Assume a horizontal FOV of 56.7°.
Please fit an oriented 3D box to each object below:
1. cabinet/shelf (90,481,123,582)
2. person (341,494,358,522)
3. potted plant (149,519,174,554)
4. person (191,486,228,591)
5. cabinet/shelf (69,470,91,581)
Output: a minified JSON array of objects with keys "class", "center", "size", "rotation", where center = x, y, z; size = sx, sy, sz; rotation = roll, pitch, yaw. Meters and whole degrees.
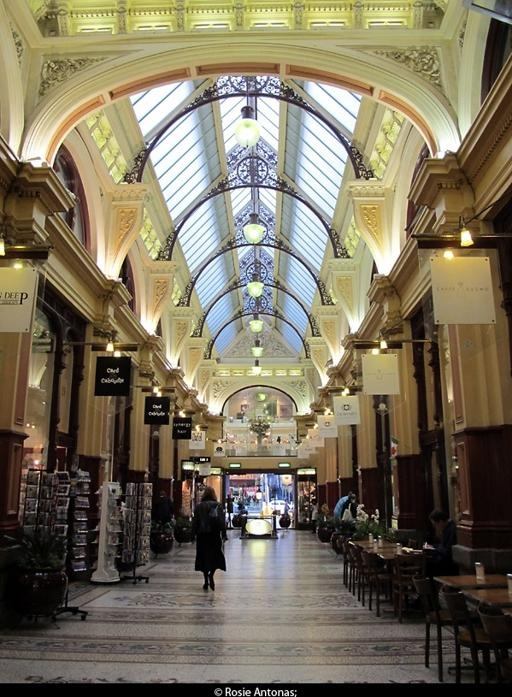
[{"class":"cabinet/shelf","center":[-2.759,3.410,8.865],"size":[0.508,1.799,0.903],"rotation":[4,-17,-17]},{"class":"person","center":[2.778,4.665,13.997],"size":[0.285,0.798,0.581],"rotation":[4,-10,-5]},{"class":"potted plant","center":[-2.868,5.620,14.156],"size":[0.495,0.986,1.029],"rotation":[-2,-16,3]},{"class":"person","center":[-0.846,3.370,8.547],"size":[0.569,1.701,1.017],"rotation":[1,-16,-5]},{"class":"cabinet/shelf","center":[-3.313,3.092,8.740],"size":[0.216,1.831,0.467],"rotation":[-1,-6,-7]}]
